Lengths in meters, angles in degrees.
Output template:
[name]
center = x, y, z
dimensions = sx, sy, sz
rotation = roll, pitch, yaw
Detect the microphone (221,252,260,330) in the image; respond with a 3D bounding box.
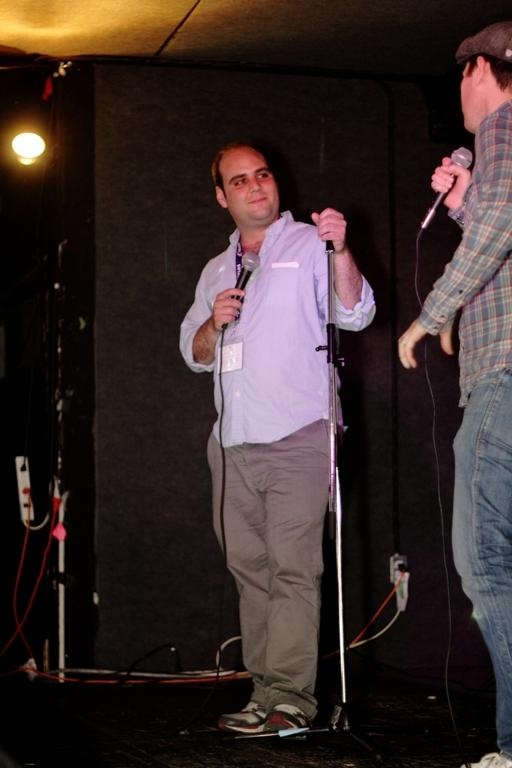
[microphone]
center = -0.046, -0.318, 2.514
dimensions = 0.047, 0.158, 0.043
rotation = 21, -25, 15

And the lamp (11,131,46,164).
[lamp]
center = -0.952, -0.983, 3.460
dimensions = 0.135, 0.125, 0.098
rotation = 4, -10, -17

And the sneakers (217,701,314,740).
[sneakers]
center = 0.025, 0.954, 2.378
dimensions = 0.161, 0.098, 0.308
rotation = 6, -11, -29
